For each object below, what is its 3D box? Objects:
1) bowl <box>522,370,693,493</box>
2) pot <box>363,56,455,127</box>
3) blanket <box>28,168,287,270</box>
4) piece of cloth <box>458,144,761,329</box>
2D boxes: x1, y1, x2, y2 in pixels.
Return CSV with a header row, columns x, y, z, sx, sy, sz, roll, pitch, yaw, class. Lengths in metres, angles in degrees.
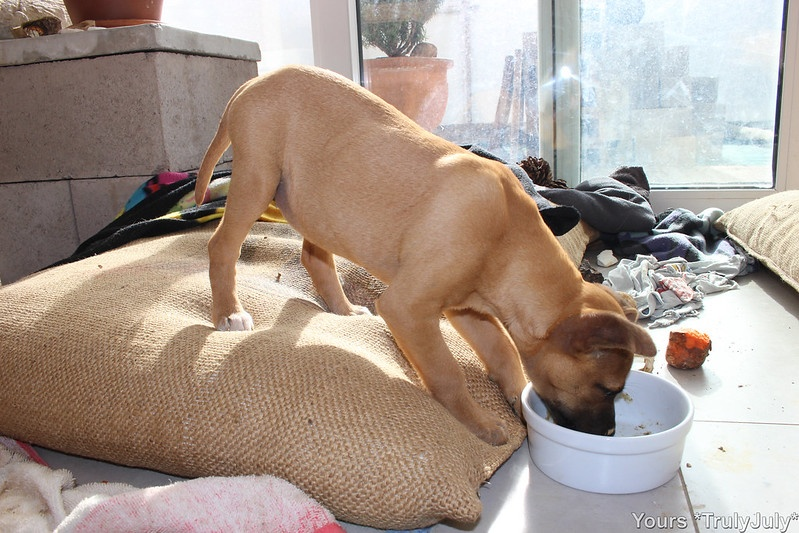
x,y,z,sx,sy,sz,roll,pitch,yaw,class
0.473,0.375,1.374,0.283,0.122,0.277,-2,21,1,bowl
0.062,-0.911,3.391,0.471,0.368,0.457,0,11,0,pot
-0.814,-0.090,2.083,0.487,0.149,0.418,-18,5,16,blanket
0.981,-0.089,2.440,0.701,0.316,0.939,22,25,37,piece of cloth
